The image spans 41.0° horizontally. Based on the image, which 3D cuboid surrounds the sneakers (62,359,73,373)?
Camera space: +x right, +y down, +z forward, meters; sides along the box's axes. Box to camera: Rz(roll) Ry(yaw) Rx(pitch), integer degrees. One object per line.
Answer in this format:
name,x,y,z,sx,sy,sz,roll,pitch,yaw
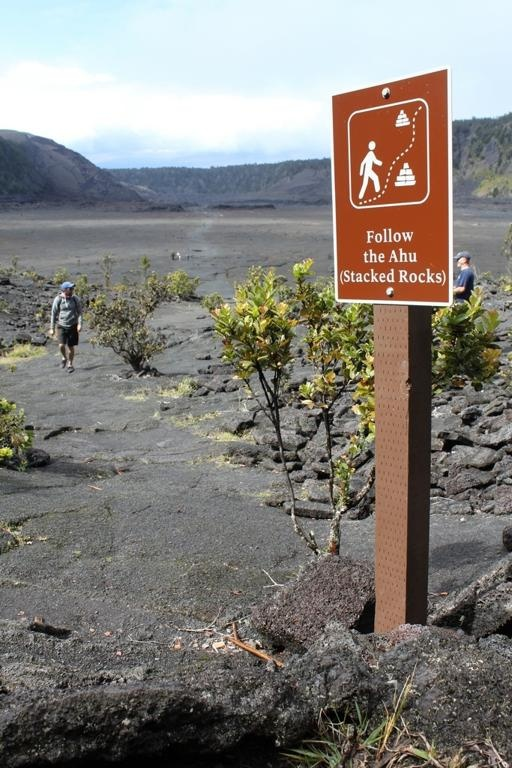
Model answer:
sneakers,-3.601,-0.349,13.051,0.195,0.096,0.279,31,-1,-28
